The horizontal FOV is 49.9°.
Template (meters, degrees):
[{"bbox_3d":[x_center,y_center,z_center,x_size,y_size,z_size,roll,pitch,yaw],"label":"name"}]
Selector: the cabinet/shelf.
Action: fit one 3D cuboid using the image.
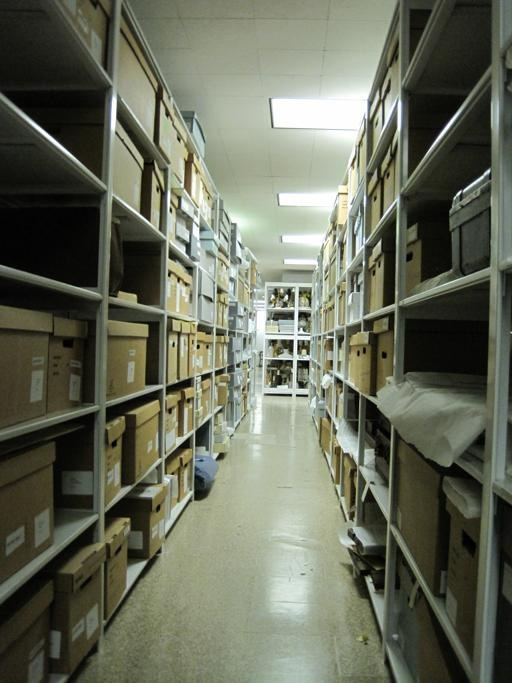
[{"bbox_3d":[0.593,0.241,9.550,0.901,0.889,2.445,-2,45,6],"label":"cabinet/shelf"}]
